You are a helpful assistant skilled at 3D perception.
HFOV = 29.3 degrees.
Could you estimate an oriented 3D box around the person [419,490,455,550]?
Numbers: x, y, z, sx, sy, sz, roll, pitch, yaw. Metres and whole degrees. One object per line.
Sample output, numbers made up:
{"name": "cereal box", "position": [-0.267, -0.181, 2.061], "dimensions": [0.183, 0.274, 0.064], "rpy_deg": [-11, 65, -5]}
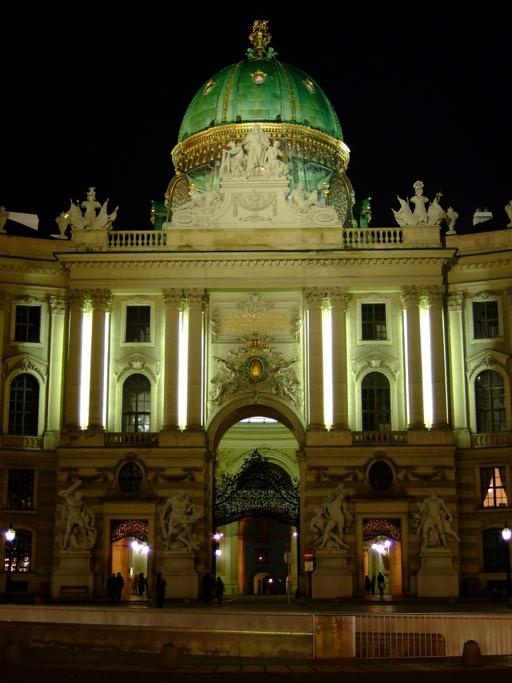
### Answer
{"name": "person", "position": [7.933, 8.119, 43.834], "dimensions": [1.319, 2.532, 1.160], "rpy_deg": [-18, -9, 42]}

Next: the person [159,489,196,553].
{"name": "person", "position": [-3.443, 8.031, 44.044], "dimensions": [1.164, 2.848, 1.234], "rpy_deg": [-4, -6, -21]}
